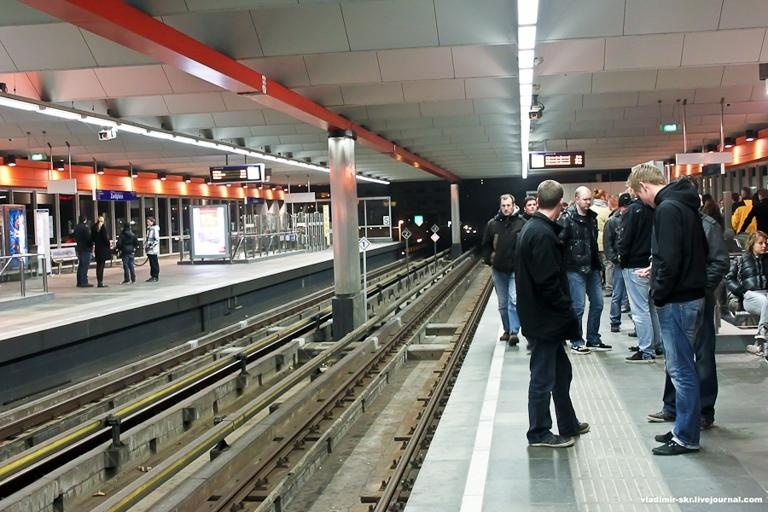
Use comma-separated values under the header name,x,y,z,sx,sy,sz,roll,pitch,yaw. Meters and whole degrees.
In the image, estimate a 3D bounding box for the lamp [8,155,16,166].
name,x,y,z,sx,sy,sz,roll,pitch,yaw
lamp,-14.126,-3.610,20.708,0.376,0.347,0.351,-5,4,-16

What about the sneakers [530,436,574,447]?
name,x,y,z,sx,sy,sz,roll,pitch,yaw
sneakers,1.533,1.721,5.098,0.410,0.134,0.143,-1,-4,4

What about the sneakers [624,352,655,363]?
name,x,y,z,sx,sy,sz,roll,pitch,yaw
sneakers,3.385,1.360,7.290,0.354,0.132,0.147,1,0,17

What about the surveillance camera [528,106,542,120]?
name,x,y,z,sx,sy,sz,roll,pitch,yaw
surveillance camera,3.670,-3.527,13.521,0.340,0.206,0.341,3,5,29

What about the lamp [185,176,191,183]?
name,x,y,z,sx,sy,sz,roll,pitch,yaw
lamp,-11.818,-4.544,32.635,0.334,0.296,0.296,-15,-20,29

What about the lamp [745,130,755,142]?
name,x,y,z,sx,sy,sz,roll,pitch,yaw
lamp,13.687,-4.515,20.555,0.296,0.273,0.409,0,-3,38

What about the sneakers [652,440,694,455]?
name,x,y,z,sx,sy,sz,roll,pitch,yaw
sneakers,2.486,1.694,4.805,0.368,0.118,0.128,-1,-5,7

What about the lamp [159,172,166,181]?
name,x,y,z,sx,sy,sz,roll,pitch,yaw
lamp,-11.976,-4.256,29.319,0.424,0.391,0.400,0,7,8

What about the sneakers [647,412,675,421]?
name,x,y,z,sx,sy,sz,roll,pitch,yaw
sneakers,2.721,1.603,5.411,0.259,0.084,0.091,0,0,7

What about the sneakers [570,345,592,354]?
name,x,y,z,sx,sy,sz,roll,pitch,yaw
sneakers,2.821,1.366,7.897,0.271,0.104,0.103,-1,2,21

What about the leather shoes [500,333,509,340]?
name,x,y,z,sx,sy,sz,roll,pitch,yaw
leather shoes,1.948,1.344,8.955,0.143,0.112,0.089,3,-2,36

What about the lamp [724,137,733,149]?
name,x,y,z,sx,sy,sz,roll,pitch,yaw
lamp,13.608,-4.497,21.717,0.369,0.455,0.672,1,8,26

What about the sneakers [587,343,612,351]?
name,x,y,z,sx,sy,sz,roll,pitch,yaw
sneakers,3.109,1.341,7.958,0.343,0.119,0.120,-1,-2,7
